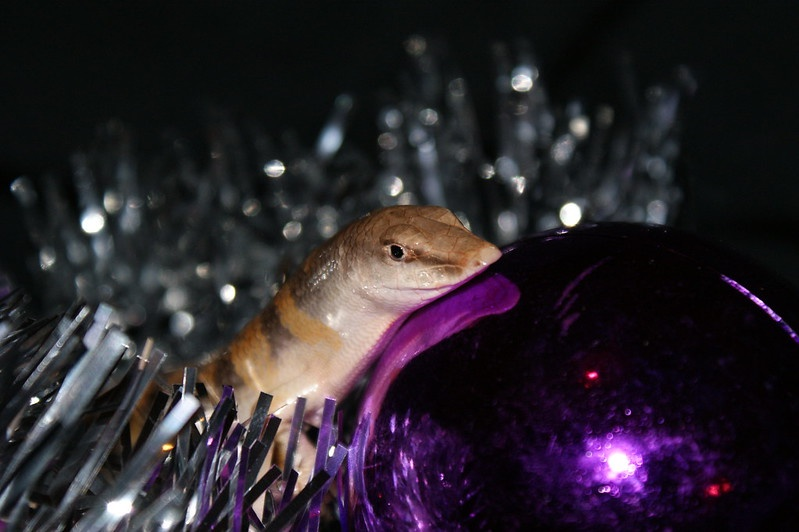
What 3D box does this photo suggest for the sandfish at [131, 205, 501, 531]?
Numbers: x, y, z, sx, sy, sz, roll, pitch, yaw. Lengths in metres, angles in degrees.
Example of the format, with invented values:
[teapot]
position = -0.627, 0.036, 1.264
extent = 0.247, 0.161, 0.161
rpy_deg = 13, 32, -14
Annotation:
[sandfish]
position = -0.125, 0.063, 0.658
extent = 0.428, 0.175, 0.319
rpy_deg = -11, 17, 10
